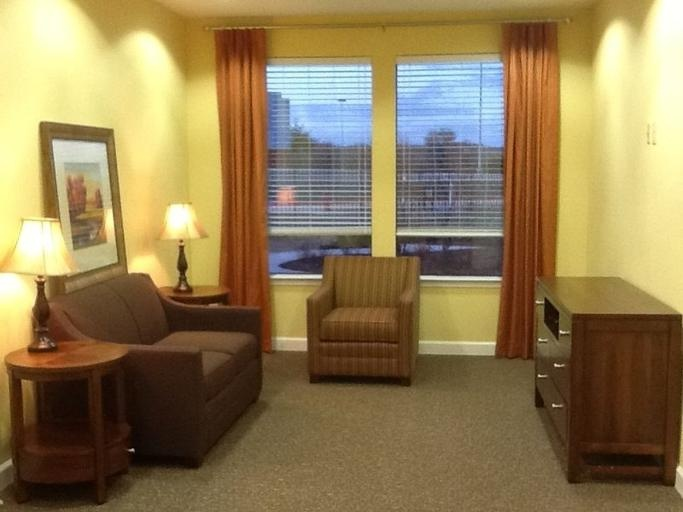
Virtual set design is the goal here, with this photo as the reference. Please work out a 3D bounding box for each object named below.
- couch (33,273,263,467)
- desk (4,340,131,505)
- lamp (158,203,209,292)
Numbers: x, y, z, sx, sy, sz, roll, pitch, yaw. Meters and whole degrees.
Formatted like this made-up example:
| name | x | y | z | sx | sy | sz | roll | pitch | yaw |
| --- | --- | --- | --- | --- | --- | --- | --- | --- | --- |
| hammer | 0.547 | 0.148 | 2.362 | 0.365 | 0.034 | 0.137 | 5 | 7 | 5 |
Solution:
| name | x | y | z | sx | sy | sz | roll | pitch | yaw |
| --- | --- | --- | --- | --- | --- | --- | --- | --- | --- |
| couch | -1.407 | 0.830 | 4.995 | 1.118 | 1.229 | 1.681 | 0 | 5 | 8 |
| desk | -1.730 | 1.054 | 3.994 | 0.723 | 0.901 | 0.577 | -5 | 12 | -20 |
| lamp | -1.502 | -0.068 | 5.845 | 0.513 | 0.789 | 0.487 | -1 | 0 | -38 |
